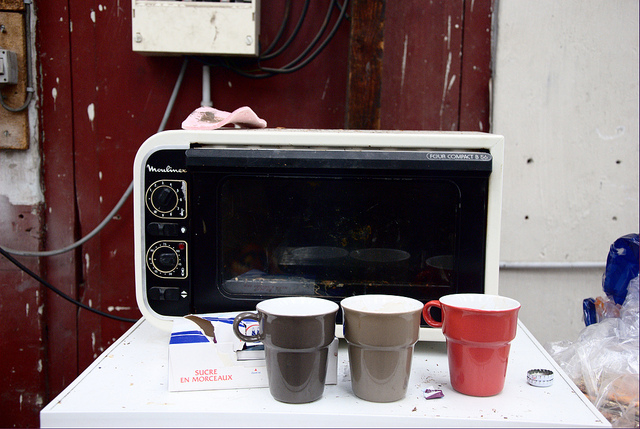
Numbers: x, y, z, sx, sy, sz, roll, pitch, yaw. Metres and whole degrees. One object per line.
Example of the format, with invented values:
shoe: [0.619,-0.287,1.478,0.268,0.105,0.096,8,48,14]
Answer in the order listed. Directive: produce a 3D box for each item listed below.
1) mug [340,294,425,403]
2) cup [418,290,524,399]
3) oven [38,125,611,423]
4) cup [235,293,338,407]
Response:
mug: [0.149,0.312,1.818,0.230,0.267,0.228,0,14,-4]
cup: [0.379,0.299,1.876,0.263,0.243,0.231,0,-1,0]
oven: [0.075,0.142,1.958,0.858,0.644,1.173,0,1,-1]
cup: [-0.083,0.327,1.795,0.250,0.240,0.202,-1,9,-19]
